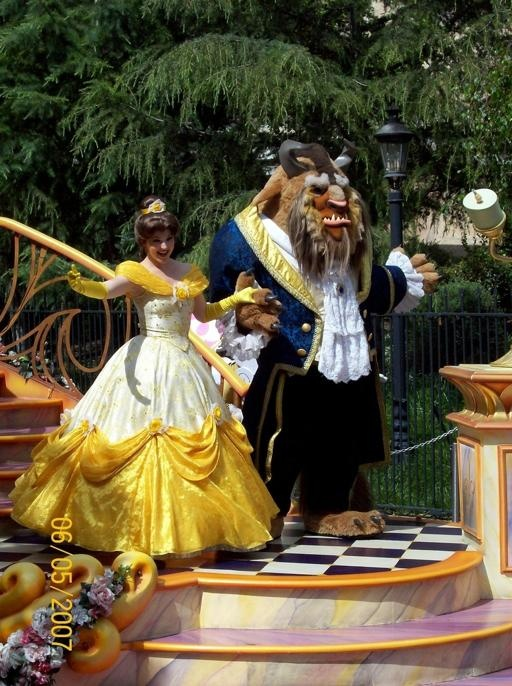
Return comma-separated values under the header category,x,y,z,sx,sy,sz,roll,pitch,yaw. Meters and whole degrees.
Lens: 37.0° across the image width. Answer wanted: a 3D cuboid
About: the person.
category,x,y,z,sx,sy,sz,roll,pitch,yaw
person,-0.403,0.103,2.791,0.962,1.321,0.695,1,4,2
